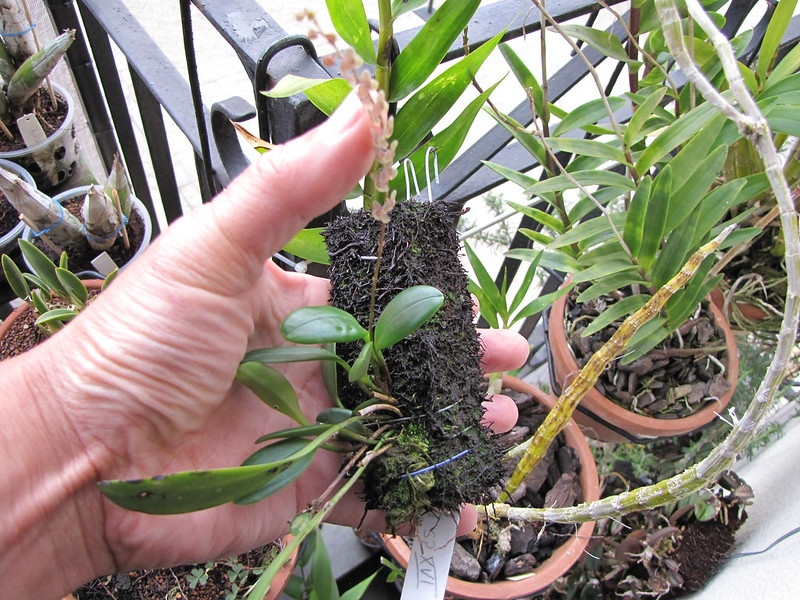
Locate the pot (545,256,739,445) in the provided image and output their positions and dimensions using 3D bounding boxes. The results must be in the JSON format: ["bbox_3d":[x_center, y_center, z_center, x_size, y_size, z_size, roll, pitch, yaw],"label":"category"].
[{"bbox_3d":[0.491,0.155,1.327,0.326,0.249,0.354,2,63,-5],"label":"pot"}]

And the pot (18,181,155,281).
[{"bbox_3d":[-0.684,-0.141,1.415,0.253,0.099,0.267,2,55,-2],"label":"pot"}]
